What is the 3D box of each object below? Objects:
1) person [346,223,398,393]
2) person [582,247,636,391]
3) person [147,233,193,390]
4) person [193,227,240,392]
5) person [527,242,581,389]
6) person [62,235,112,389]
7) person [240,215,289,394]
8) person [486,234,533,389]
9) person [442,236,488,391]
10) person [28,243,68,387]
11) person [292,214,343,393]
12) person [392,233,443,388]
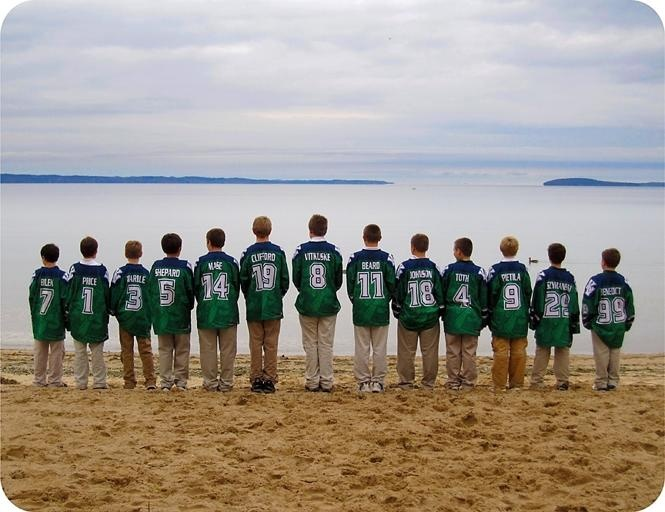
[{"bbox_3d":[0.647,0.856,19.427,0.814,2.763,0.336,-1,-2,1],"label":"person"},{"bbox_3d":[4.559,1.036,19.528,0.837,2.343,0.419,-1,-2,-12],"label":"person"},{"bbox_3d":[-2.615,0.918,19.419,0.743,2.577,0.326,-1,-2,-11],"label":"person"},{"bbox_3d":[-1.876,0.878,19.385,0.744,2.679,0.337,-1,-2,-6],"label":"person"},{"bbox_3d":[3.657,0.992,19.537,0.800,2.431,0.393,-2,-2,9],"label":"person"},{"bbox_3d":[-4.055,0.960,19.687,0.722,2.526,0.423,-1,-2,-12],"label":"person"},{"bbox_3d":[-1.109,0.785,19.449,0.783,2.909,0.367,-1,-2,-6],"label":"person"},{"bbox_3d":[2.927,0.933,19.484,0.758,2.522,0.470,-1,-2,-1],"label":"person"},{"bbox_3d":[2.180,0.949,19.496,0.739,2.509,0.329,-1,-2,5],"label":"person"},{"bbox_3d":[-4.750,0.994,19.868,0.635,2.428,0.522,-1,-2,-6],"label":"person"},{"bbox_3d":[-0.228,0.779,19.555,0.835,2.933,0.432,-1,-2,-2],"label":"person"},{"bbox_3d":[1.413,0.909,19.482,0.828,2.561,0.314,-1,-2,5],"label":"person"}]
